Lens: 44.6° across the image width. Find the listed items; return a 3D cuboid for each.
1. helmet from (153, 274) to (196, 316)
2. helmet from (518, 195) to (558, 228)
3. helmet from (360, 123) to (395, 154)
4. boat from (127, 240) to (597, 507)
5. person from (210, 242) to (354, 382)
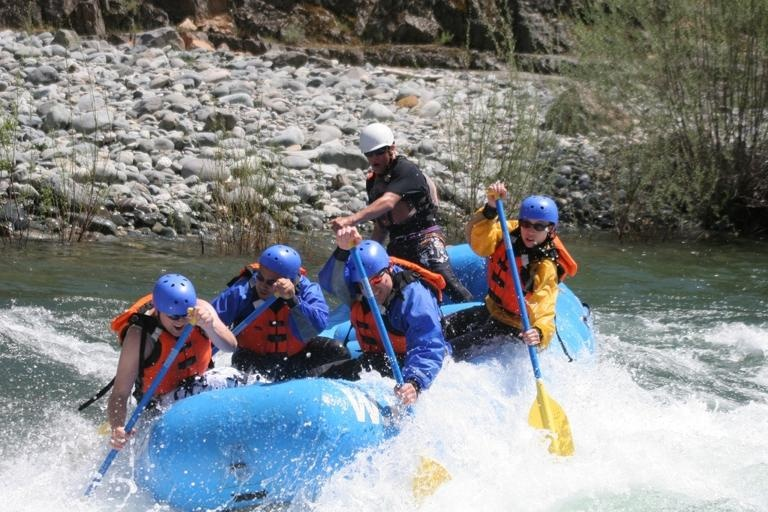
[{"bbox_3d":[-2.013,0.401,9.303,0.341,0.374,0.444,-3,4,-43],"label":"helmet"},{"bbox_3d":[1.752,-0.473,10.449,0.285,0.387,0.293,8,55,27],"label":"helmet"},{"bbox_3d":[-0.074,-1.391,10.897,0.368,0.247,0.315,-18,25,-27],"label":"helmet"},{"bbox_3d":[-0.346,1.464,9.705,4.104,0.850,2.126,-18,36,-30],"label":"boat"},{"bbox_3d":[-1.183,0.650,10.260,1.501,1.530,0.927,-1,25,-5],"label":"person"}]
